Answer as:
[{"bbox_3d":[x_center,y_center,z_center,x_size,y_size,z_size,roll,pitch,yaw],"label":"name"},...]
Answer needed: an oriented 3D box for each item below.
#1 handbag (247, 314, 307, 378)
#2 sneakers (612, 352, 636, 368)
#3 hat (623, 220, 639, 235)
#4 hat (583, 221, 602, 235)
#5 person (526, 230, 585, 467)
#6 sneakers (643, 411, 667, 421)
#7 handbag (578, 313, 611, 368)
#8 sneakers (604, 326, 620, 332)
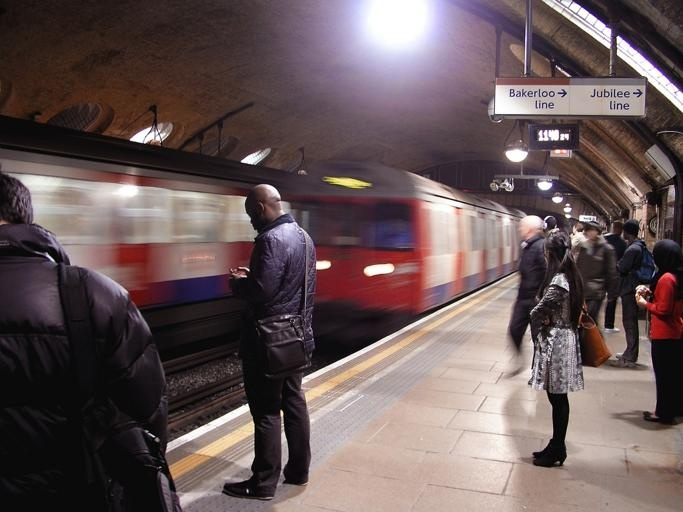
[{"bbox_3d":[-0.472,0.629,2.998,0.450,0.435,0.259,-10,-2,-21],"label":"handbag"},{"bbox_3d":[4.182,1.558,6.449,0.404,0.171,0.139,6,7,16],"label":"sneakers"},{"bbox_3d":[4.582,-0.462,6.746,0.237,0.217,0.297,4,6,4],"label":"hat"},{"bbox_3d":[3.601,-0.408,6.114,0.216,0.192,0.212,2,4,27],"label":"hat"},{"bbox_3d":[1.802,0.776,3.589,0.415,1.942,0.355,3,4,22],"label":"person"},{"bbox_3d":[3.277,1.666,4.464,0.073,0.070,0.182,0,-6,-23],"label":"sneakers"},{"bbox_3d":[2.226,0.727,3.782,0.214,0.426,0.481,1,5,32],"label":"handbag"},{"bbox_3d":[5.537,1.467,8.660,0.343,0.124,0.112,-3,3,-8],"label":"sneakers"}]
